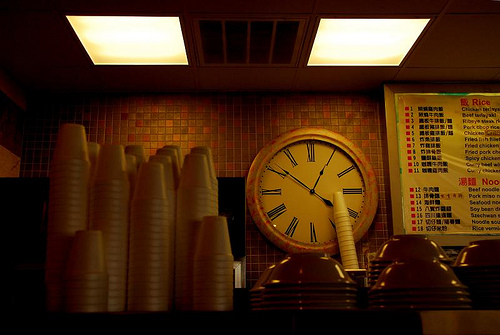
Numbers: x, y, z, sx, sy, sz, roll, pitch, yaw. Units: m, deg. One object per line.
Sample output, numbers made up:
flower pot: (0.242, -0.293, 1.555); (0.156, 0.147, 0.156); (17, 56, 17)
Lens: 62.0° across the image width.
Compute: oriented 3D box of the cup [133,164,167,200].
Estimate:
cup: (-0.325, 0.052, 1.404); (0.120, 0.121, 0.075); (5, -13, -28)

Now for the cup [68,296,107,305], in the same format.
cup: (-0.493, 0.406, 1.265); (0.096, 0.024, 0.021); (2, -12, -19)

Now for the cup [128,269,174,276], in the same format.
cup: (-0.329, 0.341, 1.346); (0.123, 0.025, 0.044); (2, -11, -14)

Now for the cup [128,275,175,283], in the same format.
cup: (-0.328, 0.361, 1.343); (0.123, 0.027, 0.044); (2, -11, -14)

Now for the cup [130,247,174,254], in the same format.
cup: (-0.328, 0.271, 1.356); (0.118, 0.024, 0.042); (2, -11, -17)

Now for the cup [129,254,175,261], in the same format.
cup: (-0.328, 0.294, 1.353); (0.120, 0.023, 0.041); (2, -11, -14)

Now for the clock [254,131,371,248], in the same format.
clock: (0.547, 0.237, 3.679); (1.107, 1.009, 0.161); (0, -16, -2)

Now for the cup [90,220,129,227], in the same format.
cup: (-0.466, 0.187, 1.386); (0.121, 0.022, 0.031); (3, -11, -20)

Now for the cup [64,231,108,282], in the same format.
cup: (-0.531, 0.291, 1.327); (0.161, 0.169, 0.155); (-1, -15, 0)

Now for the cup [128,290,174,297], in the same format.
cup: (-0.327, 0.404, 1.335); (0.121, 0.024, 0.044); (2, -11, -16)

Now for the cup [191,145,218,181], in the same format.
cup: (-0.165, -0.016, 1.660); (0.133, 0.144, 0.129); (-3, -6, 0)

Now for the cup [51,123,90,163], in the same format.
cup: (-0.631, -0.069, 1.476); (0.147, 0.141, 0.148); (-3, -7, 0)

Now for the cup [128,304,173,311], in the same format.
cup: (-0.325, 0.445, 1.319); (0.121, 0.019, 0.037); (1, -11, -9)

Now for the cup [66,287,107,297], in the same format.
cup: (-0.501, 0.381, 1.272); (0.112, 0.032, 0.032); (3, -12, -22)

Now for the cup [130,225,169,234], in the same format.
cup: (-0.331, 0.204, 1.367); (0.120, 0.028, 0.044); (1, -11, -14)

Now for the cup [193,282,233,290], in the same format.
cup: (-0.114, 0.375, 1.312); (0.119, 0.027, 0.036); (1, -11, -11)

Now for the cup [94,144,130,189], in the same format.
cup: (-0.467, 0.000, 1.405); (0.144, 0.143, 0.129); (0, -6, -17)

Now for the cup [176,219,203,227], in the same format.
cup: (-0.214, 0.189, 1.430); (0.099, 0.023, 0.021); (-4, -12, 18)

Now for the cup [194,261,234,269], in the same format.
cup: (-0.114, 0.308, 1.318); (0.121, 0.024, 0.035); (0, -11, -8)

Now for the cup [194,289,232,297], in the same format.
cup: (-0.113, 0.394, 1.305); (0.115, 0.026, 0.027); (1, -11, -10)

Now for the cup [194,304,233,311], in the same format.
cup: (-0.112, 0.436, 1.297); (0.118, 0.020, 0.038); (1, -11, -11)

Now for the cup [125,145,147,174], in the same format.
cup: (-0.424, -0.028, 1.537); (0.087, 0.122, 0.078); (0, -22, -9)

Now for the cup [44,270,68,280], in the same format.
cup: (-0.622, 0.346, 1.339); (0.041, 0.037, 0.042); (-1, -20, 0)

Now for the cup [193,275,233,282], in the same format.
cup: (-0.114, 0.352, 1.314); (0.122, 0.024, 0.035); (0, -11, -8)

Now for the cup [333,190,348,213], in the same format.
cup: (0.783, 0.293, 3.610); (0.127, 0.206, 0.185); (-3, -11, 12)
